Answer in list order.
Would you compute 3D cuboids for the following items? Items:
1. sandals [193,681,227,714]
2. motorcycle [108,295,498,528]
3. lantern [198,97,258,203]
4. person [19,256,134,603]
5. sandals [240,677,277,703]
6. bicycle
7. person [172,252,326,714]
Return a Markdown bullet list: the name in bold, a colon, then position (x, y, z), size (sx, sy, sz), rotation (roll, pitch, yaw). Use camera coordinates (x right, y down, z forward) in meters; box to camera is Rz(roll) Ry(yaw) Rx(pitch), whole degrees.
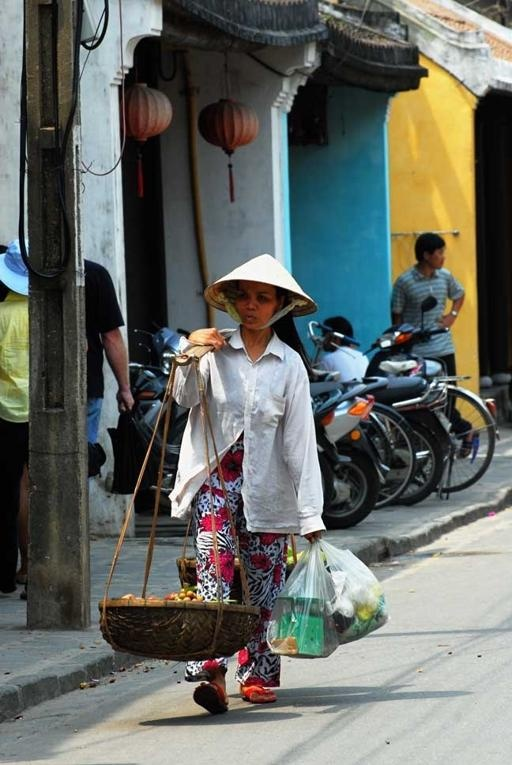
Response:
- **sandals**: position (-0.166, 1.100, 4.997), size (0.095, 0.115, 0.136), rotation (-4, -5, 13)
- **motorcycle**: position (0.500, 0.223, 9.461), size (2.709, 1.640, 1.251), rotation (4, 0, -24)
- **lantern**: position (-0.222, -1.971, 10.817), size (0.448, 0.377, 0.346), rotation (-3, -5, -1)
- **person**: position (-0.947, 0.230, 7.415), size (0.548, 1.715, 0.778), rotation (-3, -5, 4)
- **sandals**: position (0.009, 1.125, 5.259), size (0.119, 0.086, 0.071), rotation (-3, 6, -19)
- **bicycle**: position (0.875, 0.260, 10.507), size (1.768, 1.171, 0.874), rotation (6, 11, 4)
- **person**: position (-0.007, 0.350, 5.177), size (0.601, 1.650, 0.511), rotation (-2, -5, -14)
